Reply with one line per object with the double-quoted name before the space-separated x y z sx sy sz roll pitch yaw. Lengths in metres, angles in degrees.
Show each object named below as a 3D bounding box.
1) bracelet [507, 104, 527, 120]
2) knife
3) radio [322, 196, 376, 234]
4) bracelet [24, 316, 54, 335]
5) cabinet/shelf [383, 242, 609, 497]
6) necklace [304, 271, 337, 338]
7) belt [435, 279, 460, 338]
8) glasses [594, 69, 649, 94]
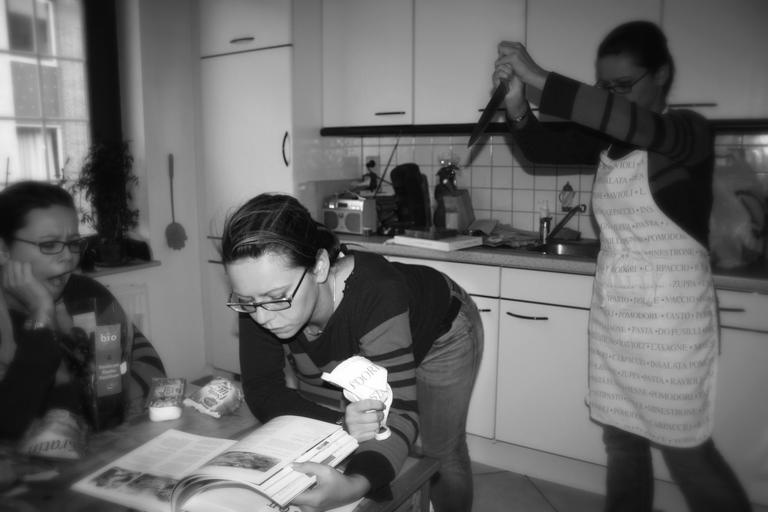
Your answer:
"bracelet" 0.606 -0.648 2.668 0.070 0.053 0.070 -1 36 38
"knife" 0.535 -0.781 2.978 0.069 0.111 0.772 -1 53 40
"radio" -0.222 -0.258 3.667 0.364 0.247 0.223 6 9 37
"bracelet" -1.149 0.229 1.941 0.069 0.027 0.068 3 3 -20
"cabinet/shelf" 0.540 0.508 2.523 1.193 1.049 0.470 3 3 25
"necklace" -0.174 0.167 1.879 0.058 0.192 0.141 21 -22 -30
"belt" 0.225 0.199 2.098 0.087 0.125 0.168 5 33 14
"glasses" 0.909 -0.663 2.235 0.140 0.042 0.135 -33 34 -32
